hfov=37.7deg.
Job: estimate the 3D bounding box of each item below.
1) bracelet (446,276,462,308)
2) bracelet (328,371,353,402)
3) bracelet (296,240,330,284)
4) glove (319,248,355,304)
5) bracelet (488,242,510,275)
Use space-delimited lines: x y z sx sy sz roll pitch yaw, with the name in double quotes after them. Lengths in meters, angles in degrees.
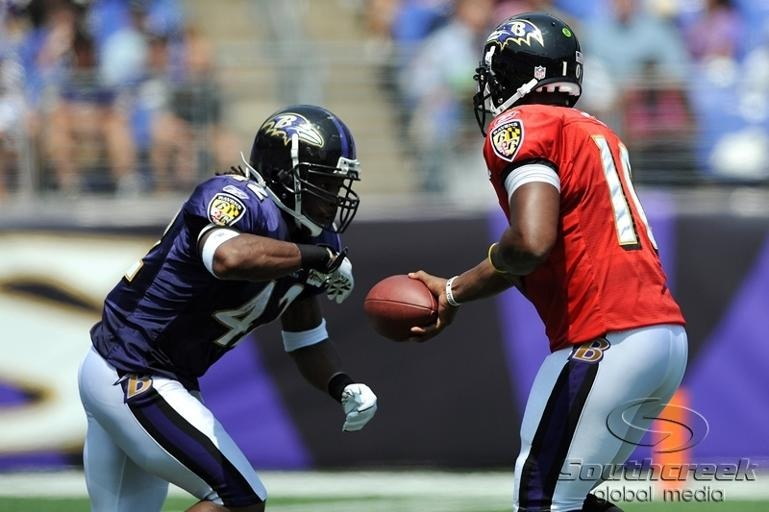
0.418 0.230 7.044 0.068 0.156 0.164 -5 12 10 "bracelet"
-0.273 0.830 7.136 0.137 0.173 0.154 -15 -5 22 "bracelet"
-0.424 0.007 6.751 0.217 0.161 0.163 1 -12 17 "bracelet"
-0.280 0.145 7.064 0.199 0.322 0.144 17 19 -38 "glove"
0.641 0.030 6.679 0.189 0.147 0.142 6 21 6 "bracelet"
